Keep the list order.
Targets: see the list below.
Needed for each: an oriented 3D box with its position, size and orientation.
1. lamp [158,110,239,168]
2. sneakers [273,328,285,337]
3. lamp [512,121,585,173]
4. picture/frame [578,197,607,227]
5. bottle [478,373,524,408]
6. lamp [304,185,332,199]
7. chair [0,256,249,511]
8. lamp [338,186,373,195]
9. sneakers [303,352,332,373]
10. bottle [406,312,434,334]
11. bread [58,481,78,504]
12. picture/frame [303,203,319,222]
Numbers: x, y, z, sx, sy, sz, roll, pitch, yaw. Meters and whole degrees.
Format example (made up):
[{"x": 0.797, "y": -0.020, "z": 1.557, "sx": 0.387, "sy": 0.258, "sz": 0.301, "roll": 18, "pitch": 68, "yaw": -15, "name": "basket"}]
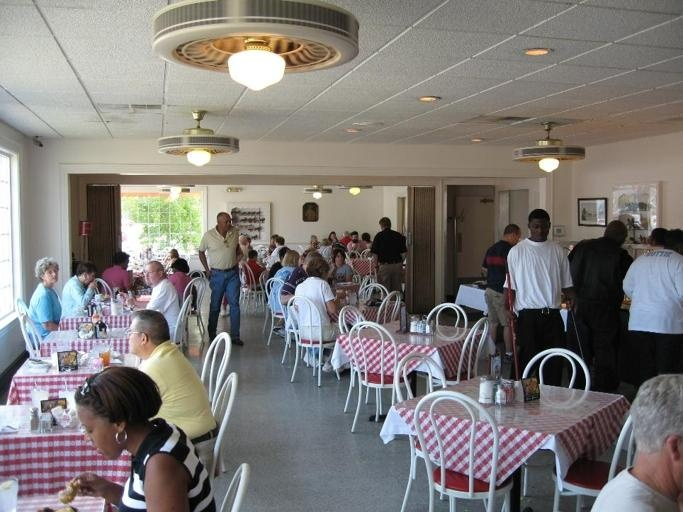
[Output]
[{"x": -1.556, "y": -1.290, "z": 5.760, "sx": 0.724, "sy": 0.606, "sz": 0.895, "roll": -2, "pitch": 3, "yaw": -29, "name": "lamp"}, {"x": -0.967, "y": 1.165, "z": 8.430, "sx": 0.092, "sy": 0.081, "sz": 0.212, "roll": 0, "pitch": 2, "yaw": -41, "name": "sneakers"}, {"x": 2.509, "y": -1.317, "z": 6.612, "sx": 0.801, "sy": 0.517, "sz": 0.794, "roll": -6, "pitch": 8, "yaw": -12, "name": "lamp"}, {"x": 4.195, "y": -0.740, "z": 9.026, "sx": 0.051, "sy": 0.562, "sz": 0.681, "roll": -1, "pitch": 2, "yaw": -21, "name": "picture/frame"}, {"x": 0.943, "y": 0.800, "z": 3.260, "sx": 0.164, "sy": 0.091, "sz": 0.218, "roll": 0, "pitch": -3, "yaw": 1, "name": "bottle"}, {"x": -0.627, "y": -1.850, "z": 15.345, "sx": 0.772, "sy": 0.383, "sz": 1.733, "roll": -1, "pitch": 2, "yaw": -3, "name": "lamp"}, {"x": -1.012, "y": 0.704, "z": 2.760, "sx": 1.084, "sy": 1.442, "sz": 0.972, "roll": 1, "pitch": -2, "yaw": 8, "name": "chair"}, {"x": 0.363, "y": -1.905, "z": 15.527, "sx": 1.031, "sy": 0.266, "sz": 2.028, "roll": -1, "pitch": 2, "yaw": 5, "name": "lamp"}, {"x": -0.283, "y": 1.257, "z": 6.423, "sx": 0.299, "sy": 0.136, "sz": 0.385, "roll": 3, "pitch": 3, "yaw": 0, "name": "sneakers"}, {"x": 0.751, "y": 0.580, "z": 5.063, "sx": 0.258, "sy": 0.172, "sz": 0.144, "roll": 0, "pitch": 2, "yaw": 33, "name": "bottle"}, {"x": -1.067, "y": 0.921, "z": 2.157, "sx": 0.036, "sy": 0.083, "sz": 0.070, "roll": 37, "pitch": -29, "yaw": -23, "name": "bread"}, {"x": -0.930, "y": -1.313, "z": 16.043, "sx": 0.573, "sy": 0.624, "sz": 0.049, "roll": -1, "pitch": 4, "yaw": -34, "name": "picture/frame"}]
